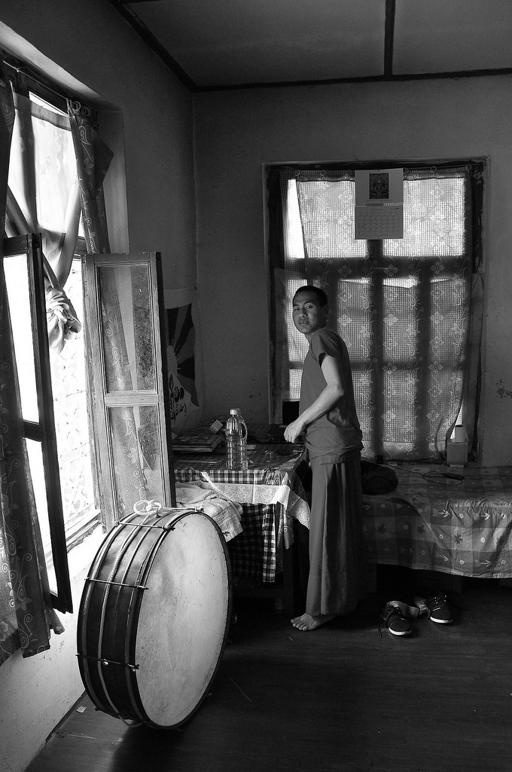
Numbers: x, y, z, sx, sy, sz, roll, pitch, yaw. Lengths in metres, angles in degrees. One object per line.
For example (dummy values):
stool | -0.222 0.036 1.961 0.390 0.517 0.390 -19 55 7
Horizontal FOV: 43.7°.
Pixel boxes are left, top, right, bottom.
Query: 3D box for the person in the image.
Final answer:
person | 0.293 0.291 2.673 0.297 1.410 0.364 1 5 23

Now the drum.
drum | -0.306 0.726 1.973 0.244 0.673 0.593 1 5 23

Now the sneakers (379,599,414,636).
sneakers | 0.587 0.971 2.656 0.120 0.066 0.206 1 5 15

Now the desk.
desk | -0.065 0.615 2.823 0.557 0.395 0.729 2 17 7
